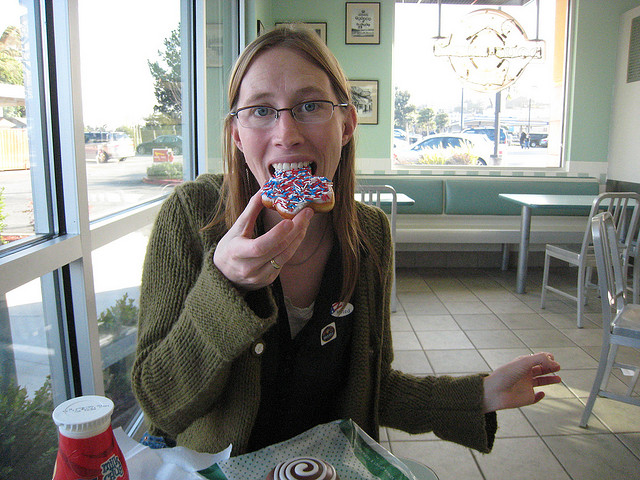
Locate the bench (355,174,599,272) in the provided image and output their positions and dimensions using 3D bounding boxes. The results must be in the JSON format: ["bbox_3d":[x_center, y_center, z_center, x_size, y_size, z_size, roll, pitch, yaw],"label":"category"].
[{"bbox_3d":[1.993,-0.120,5.471,3.054,1.208,0.822,0,5,-8],"label":"bench"}]

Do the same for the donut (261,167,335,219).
[{"bbox_3d":[-0.053,-0.114,1.473,0.149,0.048,0.160,9,34,11],"label":"donut"}]

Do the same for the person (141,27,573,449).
[{"bbox_3d":[-0.021,0.274,1.669,0.994,1.776,0.571,-7,23,-13],"label":"person"}]

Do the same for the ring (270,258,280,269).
[{"bbox_3d":[-0.109,0.060,1.231,0.020,0.007,0.017,38,-8,-2],"label":"ring"}]

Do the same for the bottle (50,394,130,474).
[{"bbox_3d":[-0.504,0.436,1.100,0.144,0.160,0.095,-6,16,-15],"label":"bottle"}]
